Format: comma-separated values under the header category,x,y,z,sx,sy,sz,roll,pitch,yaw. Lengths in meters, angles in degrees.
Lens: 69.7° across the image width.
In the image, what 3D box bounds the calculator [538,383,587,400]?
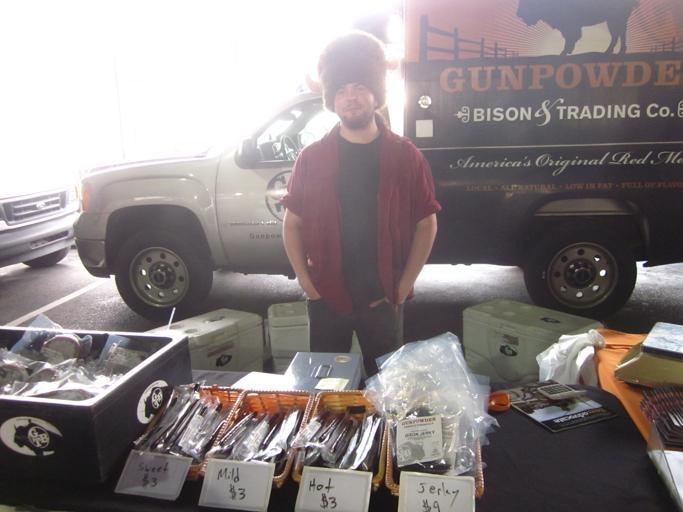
category,x,y,z,sx,sy,sz,roll,pitch,yaw
calculator,0.851,0.534,1.906,0.102,0.019,0.068,-2,9,-18

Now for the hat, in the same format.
category,x,y,z,sx,sy,sz,roll,pitch,yaw
hat,0.056,-0.901,2.347,0.244,0.303,0.337,-1,17,5

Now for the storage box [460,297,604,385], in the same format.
category,x,y,z,sx,sy,sz,roll,pitch,yaw
storage box,1.267,0.353,3.374,0.523,0.626,0.844,-2,4,-30

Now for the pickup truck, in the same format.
category,x,y,z,sx,sy,sz,roll,pitch,yaw
pickup truck,0.083,-0.355,4.593,4.326,1.982,2.280,1,8,-2

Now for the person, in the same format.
category,x,y,z,sx,sy,sz,roll,pitch,yaw
person,0.084,-0.034,2.493,0.771,1.347,0.276,5,15,11

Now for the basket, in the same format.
category,x,y,z,sx,sy,sz,roll,pitch,yaw
basket,-0.262,0.581,1.681,0.691,0.209,0.459,2,14,6
